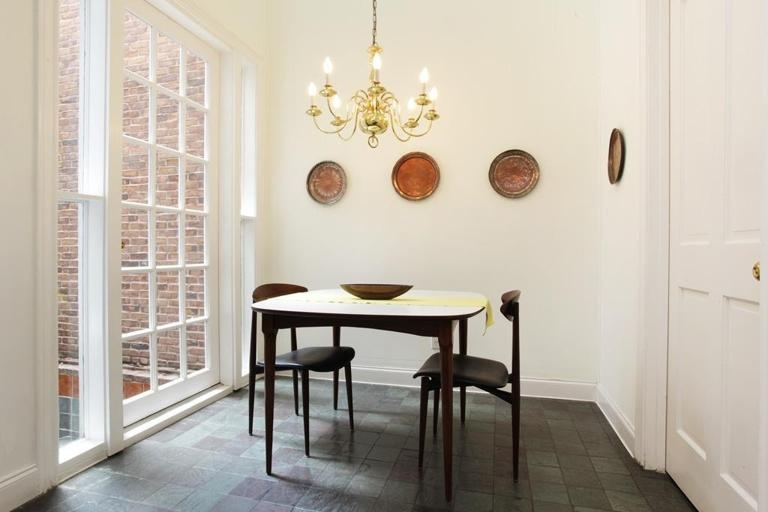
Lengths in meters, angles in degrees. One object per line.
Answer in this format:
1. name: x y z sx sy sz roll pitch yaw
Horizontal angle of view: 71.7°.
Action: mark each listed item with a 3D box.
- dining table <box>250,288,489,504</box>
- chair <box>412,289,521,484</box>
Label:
1. dining table: -0.007 0.792 3.890 1.271 1.108 1.444 0 0 12
2. chair: 0.602 0.850 3.776 0.699 1.217 0.754 0 4 12
